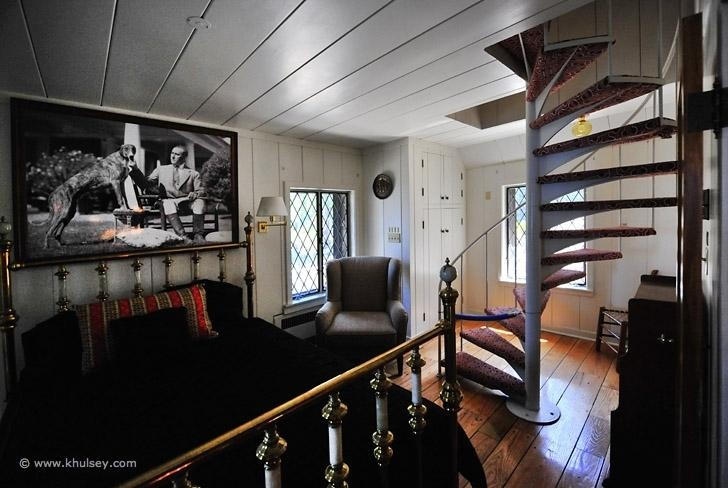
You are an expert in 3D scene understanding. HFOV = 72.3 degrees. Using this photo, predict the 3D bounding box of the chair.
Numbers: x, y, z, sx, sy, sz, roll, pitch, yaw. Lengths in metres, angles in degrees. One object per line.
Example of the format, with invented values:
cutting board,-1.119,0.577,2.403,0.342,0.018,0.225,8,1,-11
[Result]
chair,0.026,0.704,5.598,0.947,1.303,1.154,0,-9,2

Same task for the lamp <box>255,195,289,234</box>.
lamp,-0.952,-0.302,5.227,0.336,0.399,0.404,-1,0,-37

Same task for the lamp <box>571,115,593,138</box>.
lamp,2.008,-1.087,4.581,0.139,0.222,0.474,2,5,21

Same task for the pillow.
pillow,-1.955,0.758,4.169,0.895,0.647,0.253,-12,-6,-43
